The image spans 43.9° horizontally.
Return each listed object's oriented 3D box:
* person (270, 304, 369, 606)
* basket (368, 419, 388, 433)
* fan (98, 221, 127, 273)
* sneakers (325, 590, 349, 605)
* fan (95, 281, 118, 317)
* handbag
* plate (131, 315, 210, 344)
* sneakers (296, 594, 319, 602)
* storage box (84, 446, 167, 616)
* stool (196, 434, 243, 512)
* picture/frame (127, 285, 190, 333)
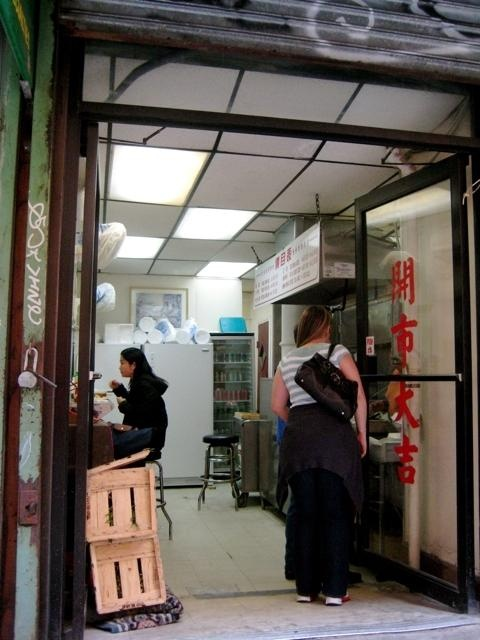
[{"bbox_3d":[0.390,0.654,2.992,0.483,1.473,0.417,-1,-3,10],"label":"person"},{"bbox_3d":[0.822,0.632,3.518,0.086,0.055,0.084,1,-5,2],"label":"basket"},{"bbox_3d":[-1.033,-0.615,4.820,0.206,0.444,0.644,0,-3,-12],"label":"fan"},{"bbox_3d":[0.459,1.317,2.818,0.053,0.065,0.149,-2,-25,16],"label":"sneakers"},{"bbox_3d":[-1.442,-0.210,6.418,0.170,0.448,0.440,7,3,-26],"label":"fan"},{"bbox_3d":[0.416,0.318,2.903,0.238,0.341,0.091,38,-49,-11],"label":"handbag"},{"bbox_3d":[-0.892,0.174,7.583,0.636,0.257,0.452,1,-9,-10],"label":"plate"},{"bbox_3d":[0.322,1.326,2.870,0.114,0.046,0.039,0,-4,-8],"label":"sneakers"},{"bbox_3d":[-0.524,0.965,2.792,0.370,0.703,0.354,0,-3,-13],"label":"storage box"},{"bbox_3d":[-0.196,1.476,5.949,0.534,0.692,0.546,5,-7,-44],"label":"stool"},{"bbox_3d":[-1.228,-0.159,8.665,0.656,0.504,0.043,5,-17,-25],"label":"picture/frame"}]
